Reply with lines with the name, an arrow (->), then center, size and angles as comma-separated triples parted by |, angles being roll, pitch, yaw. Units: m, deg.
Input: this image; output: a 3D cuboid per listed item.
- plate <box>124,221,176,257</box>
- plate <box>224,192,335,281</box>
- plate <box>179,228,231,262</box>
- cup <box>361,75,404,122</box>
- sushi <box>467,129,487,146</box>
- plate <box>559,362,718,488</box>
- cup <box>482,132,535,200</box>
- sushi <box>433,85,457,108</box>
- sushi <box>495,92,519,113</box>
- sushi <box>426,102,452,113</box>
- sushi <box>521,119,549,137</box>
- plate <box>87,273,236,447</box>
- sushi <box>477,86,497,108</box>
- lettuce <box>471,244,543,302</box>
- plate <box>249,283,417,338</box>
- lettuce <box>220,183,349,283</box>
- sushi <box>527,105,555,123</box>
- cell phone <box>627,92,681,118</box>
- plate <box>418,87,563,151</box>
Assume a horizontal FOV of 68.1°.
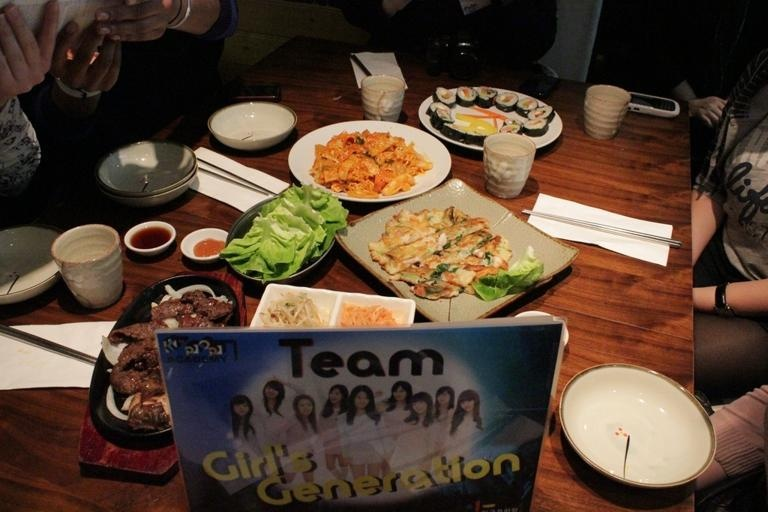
plate -> -0.960, -0.076, 2.344 | 0.166, 0.044, 0.164 | 7, 50, 2
plate -> -0.394, -0.048, 2.250 | 0.407, 0.144, 0.353 | -11, 50, -16
plate -> -0.722, -0.038, 2.295 | 0.172, 0.047, 0.171 | 6, 48, 3
cup -> -0.009, -0.842, 3.047 | 0.241, 0.200, 0.270 | 0, 37, -6
sushi -> 0.461, -0.601, 2.826 | 0.073, 0.070, 0.020 | 9, 10, 22
plate -> 0.796, 0.543, 1.818 | 0.459, 0.127, 0.383 | -1, 48, -3
cup -> 0.573, -0.414, 2.628 | 0.229, 0.218, 0.264 | 22, 35, 30
sushi -> 0.329, -0.900, 3.173 | 0.111, 0.055, 0.131 | -25, 66, -28
sushi -> 0.686, -0.890, 3.168 | 0.107, 0.045, 0.124 | 3, 43, 11
sushi -> 0.293, -0.816, 3.055 | 0.075, 0.036, 0.100 | 2, 34, -2
sushi -> 0.780, -0.670, 2.927 | 0.115, 0.056, 0.154 | 2, 40, 18
plate -> -0.772, 0.326, 1.963 | 0.398, 0.144, 0.627 | 19, 50, 14
sushi -> 0.575, -0.915, 3.191 | 0.119, 0.081, 0.119 | 1, 44, -2
lettuce -> 0.481, 0.093, 2.163 | 0.268, 0.073, 0.162 | -33, 46, 0
plate -> -0.190, 0.191, 2.028 | 0.368, 0.064, 0.246 | 4, 45, -1
lettuce -> -0.383, -0.045, 2.264 | 0.445, 0.159, 0.380 | -19, 51, -18
sushi -> 0.830, -0.774, 3.024 | 0.119, 0.029, 0.085 | -14, 48, 0
cell phone -> 1.498, -0.844, 3.142 | 0.331, 0.077, 0.172 | 16, 48, 18
plate -> 0.559, -0.756, 3.086 | 0.534, 0.092, 0.521 | 8, 41, 1
